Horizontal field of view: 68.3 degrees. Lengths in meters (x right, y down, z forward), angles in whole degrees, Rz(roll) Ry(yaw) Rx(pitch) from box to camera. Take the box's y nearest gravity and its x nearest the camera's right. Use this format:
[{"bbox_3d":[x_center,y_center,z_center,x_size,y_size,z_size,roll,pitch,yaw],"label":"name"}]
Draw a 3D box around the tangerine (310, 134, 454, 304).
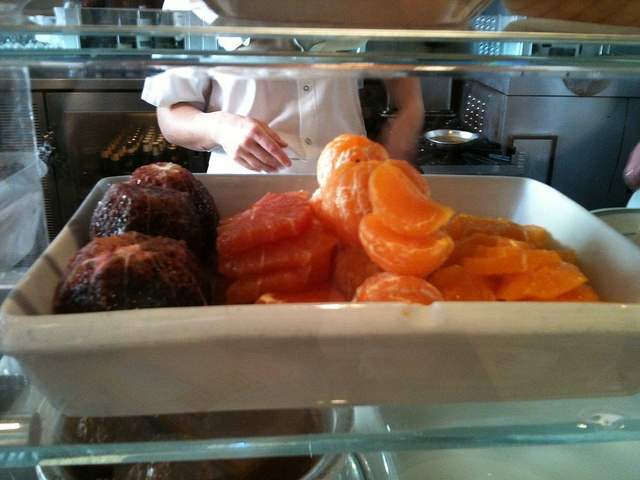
[{"bbox_3d":[0.064,-0.014,0.487,0.117,0.181,0.053,-17,-9,15],"label":"tangerine"}]
